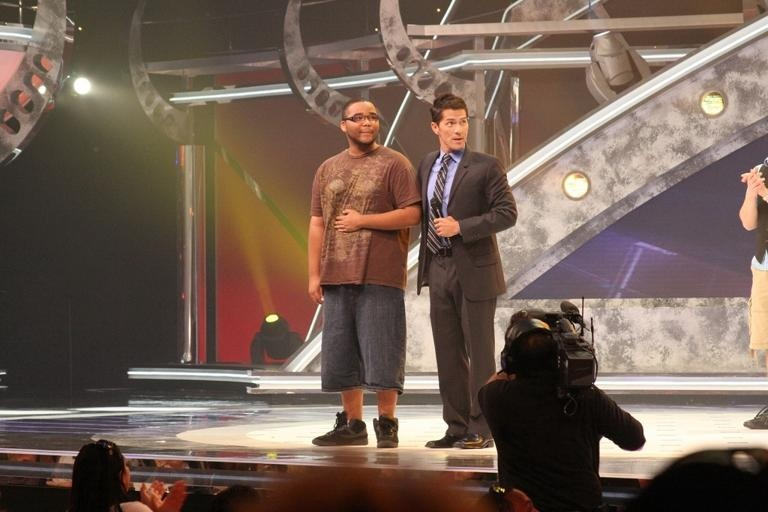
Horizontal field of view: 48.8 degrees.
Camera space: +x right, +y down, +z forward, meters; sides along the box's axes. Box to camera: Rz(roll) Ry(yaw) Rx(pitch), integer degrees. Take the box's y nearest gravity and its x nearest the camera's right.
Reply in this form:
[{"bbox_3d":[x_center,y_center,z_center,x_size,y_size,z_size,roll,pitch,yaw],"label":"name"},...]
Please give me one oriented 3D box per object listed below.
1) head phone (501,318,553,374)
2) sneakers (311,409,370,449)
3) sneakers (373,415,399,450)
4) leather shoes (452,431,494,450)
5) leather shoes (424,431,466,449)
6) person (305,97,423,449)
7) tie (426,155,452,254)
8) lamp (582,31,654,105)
[{"bbox_3d":[0.735,0.451,4.311,0.217,0.220,0.278,2,6,8],"label":"head phone"},{"bbox_3d":[-0.263,1.130,5.461,0.409,0.232,0.144,2,-12,-4],"label":"sneakers"},{"bbox_3d":[0.022,1.152,5.603,0.200,0.232,0.556,0,-9,5],"label":"sneakers"},{"bbox_3d":[0.570,1.164,5.352,0.295,0.115,0.114,3,-9,-6],"label":"leather shoes"},{"bbox_3d":[0.384,1.160,5.346,0.255,0.102,0.092,2,-9,1],"label":"leather shoes"},{"bbox_3d":[-0.136,0.117,5.543,0.641,2.192,0.517,5,-14,-18],"label":"person"},{"bbox_3d":[0.353,-0.323,5.510,0.149,0.645,0.172,5,0,-7],"label":"tie"},{"bbox_3d":[2.282,-1.856,8.409,0.622,0.662,0.381,-21,12,-1],"label":"lamp"}]
